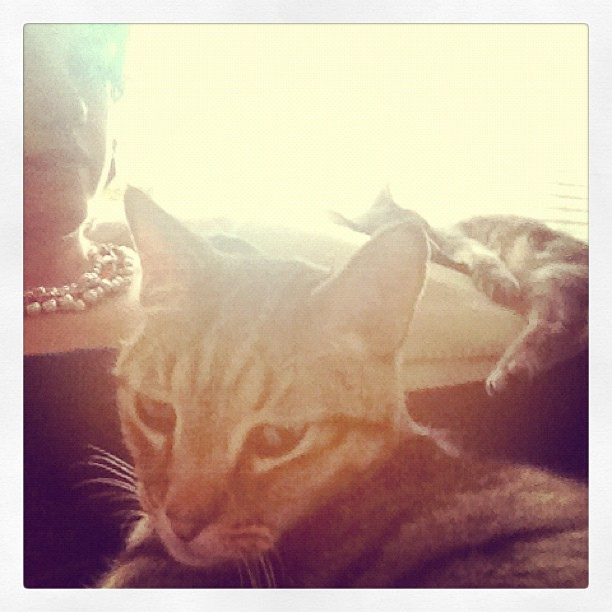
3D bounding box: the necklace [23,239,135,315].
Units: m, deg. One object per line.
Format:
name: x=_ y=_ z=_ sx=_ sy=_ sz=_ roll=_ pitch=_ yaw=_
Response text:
necklace: x=-0.856 y=-0.089 z=3.340 sx=0.252 sy=0.095 sz=0.381 roll=-4 pitch=28 yaw=27
